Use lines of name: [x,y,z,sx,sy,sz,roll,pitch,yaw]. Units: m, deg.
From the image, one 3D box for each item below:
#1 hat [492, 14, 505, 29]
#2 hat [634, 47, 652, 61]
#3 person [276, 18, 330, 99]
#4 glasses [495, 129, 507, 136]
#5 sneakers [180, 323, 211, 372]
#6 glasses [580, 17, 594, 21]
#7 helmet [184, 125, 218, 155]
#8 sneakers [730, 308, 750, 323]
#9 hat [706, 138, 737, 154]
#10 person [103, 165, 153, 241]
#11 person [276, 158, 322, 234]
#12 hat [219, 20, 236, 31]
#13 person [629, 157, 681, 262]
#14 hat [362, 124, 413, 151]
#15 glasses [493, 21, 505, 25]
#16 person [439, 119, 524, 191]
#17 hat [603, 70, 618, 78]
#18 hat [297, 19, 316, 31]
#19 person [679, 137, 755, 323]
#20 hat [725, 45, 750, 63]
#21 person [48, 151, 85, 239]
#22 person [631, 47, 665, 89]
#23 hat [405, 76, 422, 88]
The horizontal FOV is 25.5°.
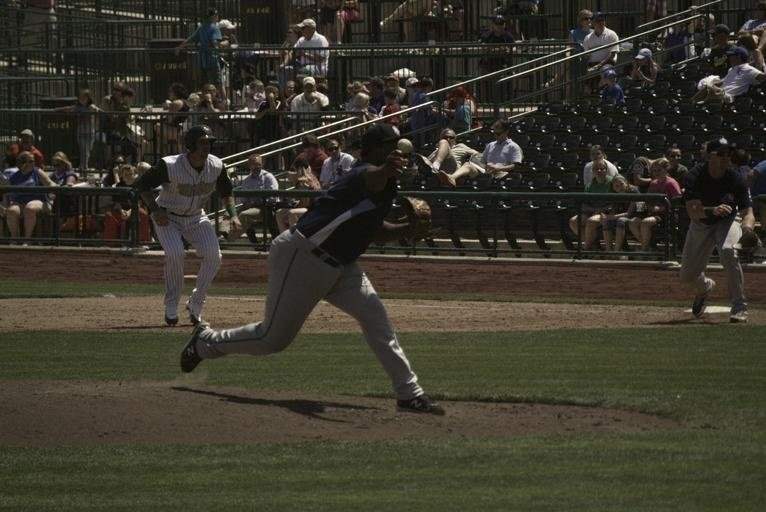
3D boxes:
hat: [2.458,-4.923,35.342,0.372,0.366,0.426,1,9,3]
hat: [5.312,-4.056,33.756,0.345,0.153,0.240,11,0,-29]
person: [-1.652,-4.086,35.025,1.235,1.540,1.158,7,6,20]
glasses: [2.205,-2.305,31.229,0.223,0.148,0.239,3,8,9]
sneakers: [-2.529,1.232,22.963,0.241,0.675,0.288,28,12,-45]
glasses: [4.224,-4.885,34.614,0.162,0.045,0.154,-5,0,-6]
helmet: [-2.744,-1.745,25.075,0.562,0.375,0.403,-4,-4,38]
sneakers: [5.427,0.881,25.654,0.131,0.136,0.336,-3,-9,25]
hat: [5.083,-1.662,25.116,0.574,0.226,0.324,0,8,-16]
person: [-4.476,-0.986,30.338,0.911,1.318,0.893,1,13,15]
person: [-1.364,-1.013,28.066,1.100,0.577,1.626,-2,26,1]
hat: [-3.324,-5.034,36.562,0.311,0.127,0.440,7,6,31]
person: [4.697,-0.922,28.902,0.827,1.529,0.945,4,9,11]
hat: [0.047,-1.543,21.688,0.572,0.248,0.372,1,6,3]
glasses: [2.475,-4.870,35.172,0.101,0.064,0.099,3,5,35]
person: [1.752,-1.890,30.898,0.866,1.053,2.024,12,17,42]
hat: [4.511,-3.624,33.367,0.301,0.133,0.398,0,1,-1]
hat: [-1.582,-4.779,34.785,0.380,0.139,0.245,1,6,27]
person: [5.063,-0.409,25.434,1.052,2.796,0.697,4,9,10]
hat: [6.769,-3.832,31.953,0.409,0.215,0.280,26,23,26]
person: [-5.767,-1.167,30.847,0.531,1.368,1.567,0,8,-11]
person: [5.308,-3.796,33.842,0.791,0.697,0.531,0,16,-20]
hat: [0.594,-3.432,33.147,0.149,0.156,0.282,27,-21,-32]
